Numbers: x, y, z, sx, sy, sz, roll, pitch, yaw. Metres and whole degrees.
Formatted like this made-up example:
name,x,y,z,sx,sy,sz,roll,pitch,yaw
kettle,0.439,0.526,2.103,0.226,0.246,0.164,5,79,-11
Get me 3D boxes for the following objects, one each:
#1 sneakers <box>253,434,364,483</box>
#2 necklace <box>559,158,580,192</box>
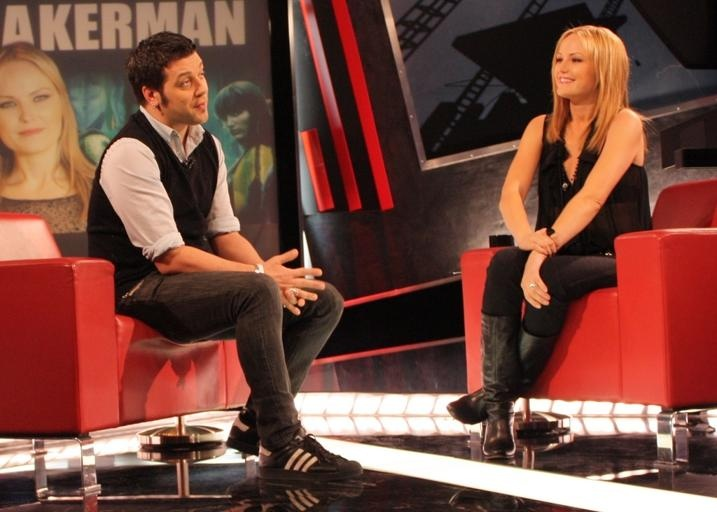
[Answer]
name,x,y,z,sx,sy,sz,roll,pitch,yaw
sneakers,-0.158,0.668,2.434,0.370,0.140,0.133,0,-1,-3
necklace,0.818,-0.307,2.839,0.031,0.114,0.066,4,-7,-22
